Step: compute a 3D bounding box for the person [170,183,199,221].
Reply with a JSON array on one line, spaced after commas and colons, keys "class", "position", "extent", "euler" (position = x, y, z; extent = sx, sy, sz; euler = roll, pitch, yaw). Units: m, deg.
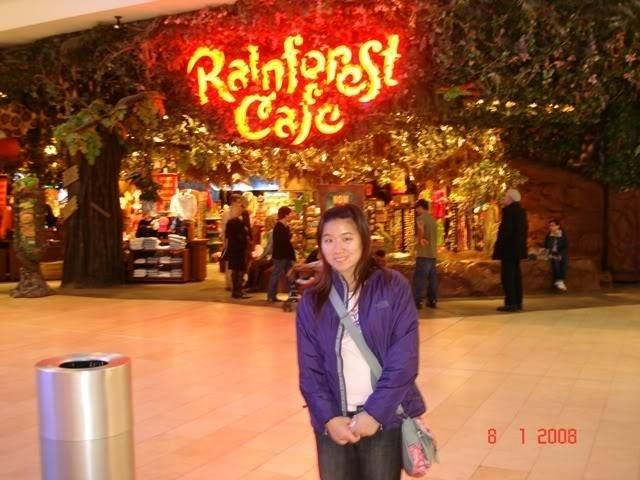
[{"class": "person", "position": [-4.131, -1.122, 14.177], "extent": [0.939, 0.969, 0.416], "euler": [5, -2, -4]}]

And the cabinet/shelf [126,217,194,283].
[{"class": "cabinet/shelf", "position": [-4.821, 0.238, 14.440], "extent": [2.358, 1.940, 1.805], "euler": [0, 0, 6]}]

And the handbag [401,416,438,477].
[{"class": "handbag", "position": [0.379, 0.768, 1.724], "extent": [0.172, 0.221, 0.081], "euler": [-2, -1, -35]}]

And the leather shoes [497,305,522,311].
[{"class": "leather shoes", "position": [3.580, 1.298, 8.698], "extent": [0.453, 0.161, 0.150], "euler": [2, -1, 3]}]

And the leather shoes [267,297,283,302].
[{"class": "leather shoes", "position": [-0.989, 1.302, 10.085], "extent": [0.305, 0.111, 0.100], "euler": [1, -4, -9]}]

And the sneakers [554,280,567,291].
[{"class": "sneakers", "position": [5.827, 1.105, 11.144], "extent": [0.222, 0.291, 0.159], "euler": [-43, -16, 19]}]

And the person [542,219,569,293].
[{"class": "person", "position": [5.842, 0.399, 11.305], "extent": [0.454, 1.870, 0.582], "euler": [-3, 0, 6]}]

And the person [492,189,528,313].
[{"class": "person", "position": [3.566, 0.204, 8.605], "extent": [0.576, 2.383, 0.537], "euler": [-3, 0, 23]}]

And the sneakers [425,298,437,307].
[{"class": "sneakers", "position": [2.262, 1.291, 9.317], "extent": [0.161, 0.118, 0.171], "euler": [1, -8, -7]}]
